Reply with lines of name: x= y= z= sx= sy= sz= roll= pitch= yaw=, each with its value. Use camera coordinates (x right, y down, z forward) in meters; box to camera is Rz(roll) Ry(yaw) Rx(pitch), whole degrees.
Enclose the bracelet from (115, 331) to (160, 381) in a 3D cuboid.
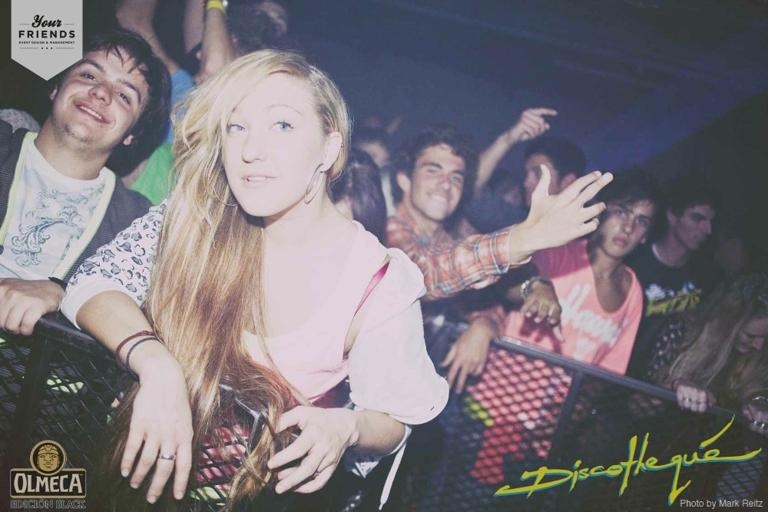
bracelet: x=-1.641 y=0.635 z=4.939 sx=0.255 sy=0.257 sz=0.074 roll=15 pitch=5 yaw=-28
